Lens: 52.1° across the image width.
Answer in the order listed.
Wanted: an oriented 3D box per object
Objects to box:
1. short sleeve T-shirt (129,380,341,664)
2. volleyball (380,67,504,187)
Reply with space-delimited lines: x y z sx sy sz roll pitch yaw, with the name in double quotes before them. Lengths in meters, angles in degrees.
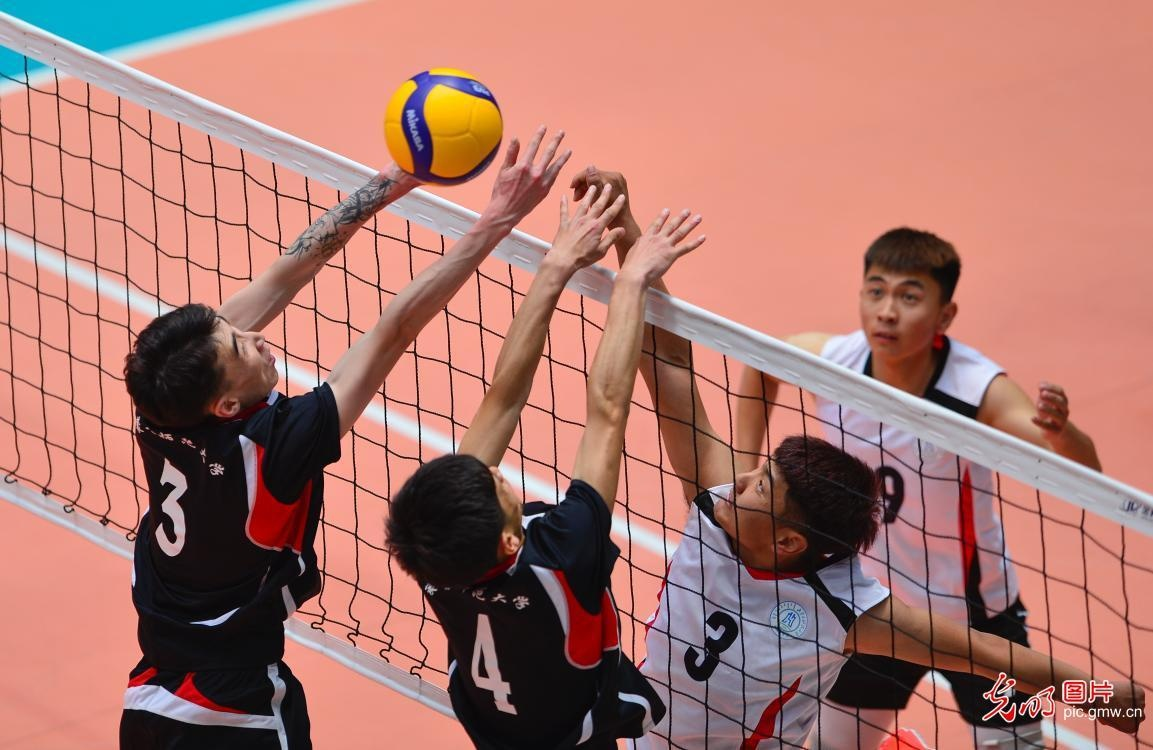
"short sleeve T-shirt" -1.439 0.608 5.018 0.949 0.840 1.079 16 -71 45
"volleyball" -0.698 -1.011 5.053 0.452 0.459 0.522 3 -83 -8
